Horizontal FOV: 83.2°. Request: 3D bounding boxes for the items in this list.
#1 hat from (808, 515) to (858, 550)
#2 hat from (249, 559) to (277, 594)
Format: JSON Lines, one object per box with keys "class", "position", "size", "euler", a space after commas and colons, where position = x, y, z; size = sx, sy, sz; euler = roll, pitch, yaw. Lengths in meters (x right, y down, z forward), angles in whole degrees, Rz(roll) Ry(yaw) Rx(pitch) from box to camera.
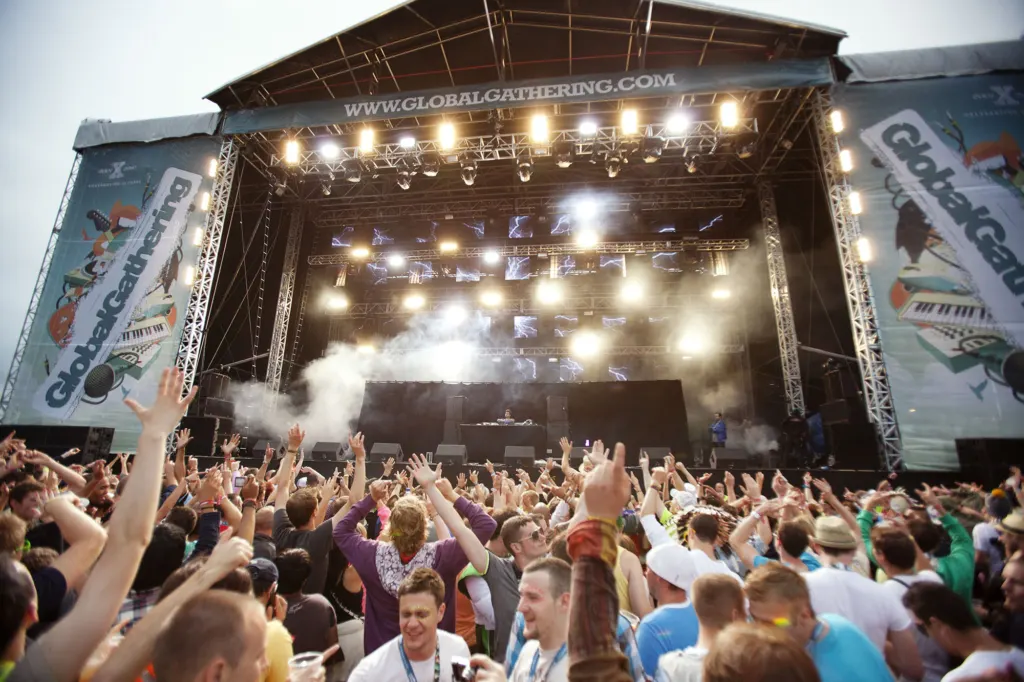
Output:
{"class": "hat", "position": [2.825, 1.703, 5.126], "size": [0.292, 0.125, 0.332], "euler": [2, -5, 4]}
{"class": "hat", "position": [-2.024, 1.901, 4.687], "size": [0.220, 0.260, 0.150], "euler": [7, -12, -25]}
